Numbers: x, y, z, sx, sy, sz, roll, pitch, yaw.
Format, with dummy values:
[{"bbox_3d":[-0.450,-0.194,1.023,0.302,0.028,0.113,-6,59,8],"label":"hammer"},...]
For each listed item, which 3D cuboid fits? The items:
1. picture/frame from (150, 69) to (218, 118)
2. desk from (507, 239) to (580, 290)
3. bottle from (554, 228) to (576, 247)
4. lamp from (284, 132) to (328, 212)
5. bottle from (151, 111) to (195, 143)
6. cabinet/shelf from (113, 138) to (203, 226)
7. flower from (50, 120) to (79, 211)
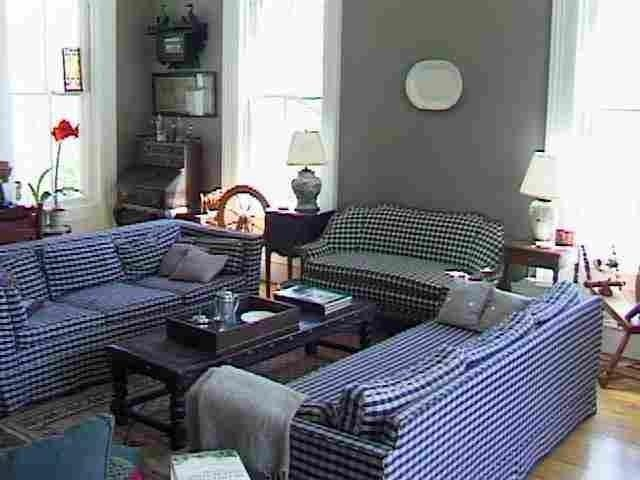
[{"bbox_3d":[-1.770,-1.928,6.970,1.139,0.588,0.123,13,16,31],"label":"picture/frame"},{"bbox_3d":[1.998,0.117,4.773,0.569,0.410,0.425,10,17,42],"label":"desk"},{"bbox_3d":[2.201,-0.026,4.759,0.207,0.192,0.143,3,4,34],"label":"bottle"},{"bbox_3d":[-0.150,-0.753,5.766,0.407,0.856,0.500,4,14,-2],"label":"lamp"},{"bbox_3d":[-1.932,-1.496,7.077,0.731,0.374,0.477,3,5,0],"label":"bottle"},{"bbox_3d":[-2.122,-0.666,7.040,0.992,1.186,0.754,8,18,22],"label":"cabinet/shelf"},{"bbox_3d":[-3.135,-0.942,6.546,0.323,1.084,0.820,-2,15,-25],"label":"flower"}]
